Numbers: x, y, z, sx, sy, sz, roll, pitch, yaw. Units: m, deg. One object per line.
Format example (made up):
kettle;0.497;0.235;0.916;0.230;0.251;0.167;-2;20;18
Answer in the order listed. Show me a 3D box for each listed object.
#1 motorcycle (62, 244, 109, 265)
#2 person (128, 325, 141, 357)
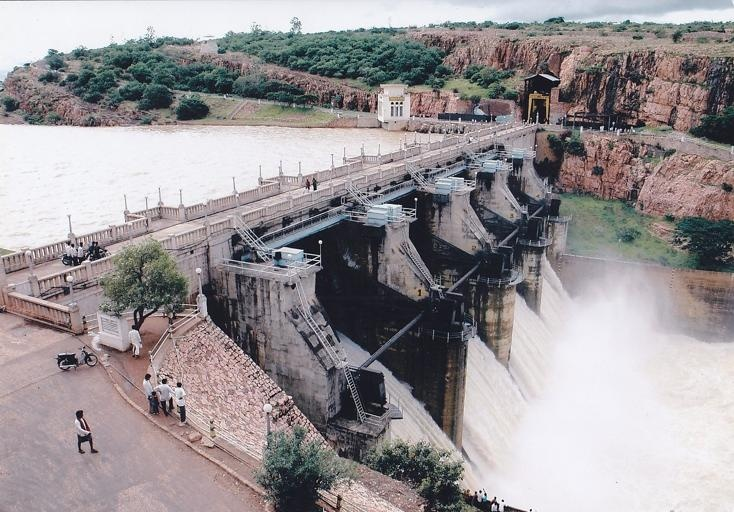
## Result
motorcycle;-18.546;-0.006;42.302;2.727;1.450;1.357;-11;46;-6
person;-13.613;5.033;37.976;0.678;1.505;1.161;-8;27;-20
